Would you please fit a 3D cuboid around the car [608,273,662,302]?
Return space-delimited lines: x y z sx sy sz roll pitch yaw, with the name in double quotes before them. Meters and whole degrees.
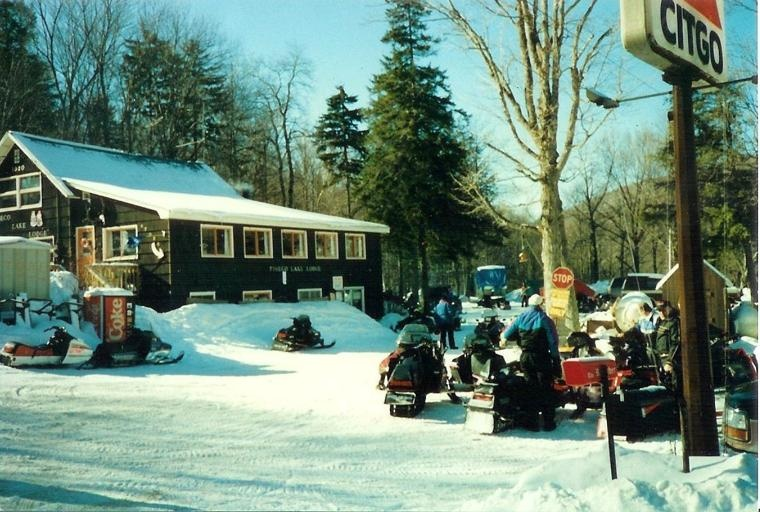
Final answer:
"car" 12.783 1.420 48.588 2.628 1.313 1.613 -5 2 9

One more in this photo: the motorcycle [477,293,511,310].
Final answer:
"motorcycle" 7.362 2.968 62.285 1.627 0.955 0.806 4 15 -8

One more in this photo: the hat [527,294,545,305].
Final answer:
"hat" 4.264 1.227 26.775 0.283 0.241 0.407 10 21 35

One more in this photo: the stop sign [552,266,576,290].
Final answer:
"stop sign" 6.223 0.762 33.515 1.018 1.014 0.141 -1 1 20

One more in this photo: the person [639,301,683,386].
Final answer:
"person" 7.635 2.450 26.641 0.738 2.612 1.266 8 -27 -2

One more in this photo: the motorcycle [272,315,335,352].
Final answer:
"motorcycle" -3.121 2.932 37.037 2.682 1.339 1.053 -1 4 -29

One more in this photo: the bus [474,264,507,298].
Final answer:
"bus" 7.208 1.725 64.297 1.764 1.636 5.295 -1 -5 0
